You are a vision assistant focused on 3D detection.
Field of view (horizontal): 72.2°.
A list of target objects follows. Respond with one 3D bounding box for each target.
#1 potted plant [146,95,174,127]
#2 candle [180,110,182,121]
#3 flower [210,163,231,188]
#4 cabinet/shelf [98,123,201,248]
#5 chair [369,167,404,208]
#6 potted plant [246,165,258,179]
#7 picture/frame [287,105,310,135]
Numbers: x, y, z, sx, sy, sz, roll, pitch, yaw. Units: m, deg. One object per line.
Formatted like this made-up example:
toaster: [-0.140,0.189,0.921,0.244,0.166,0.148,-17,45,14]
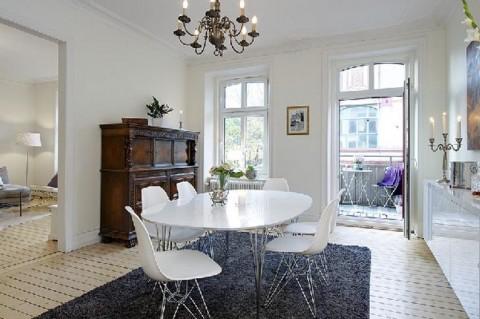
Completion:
potted plant: [-1.538,-0.934,6.460,0.594,0.608,0.557,0,2,9]
candle: [-1.271,-0.946,7.100,0.062,0.230,0.310,-2,4,-10]
flower: [-0.215,0.193,4.489,0.316,0.360,0.344,-5,5,-40]
cabinet/shelf: [-1.634,0.412,6.319,0.778,2.026,2.048,2,2,23]
chair: [3.164,0.596,7.139,0.629,0.847,0.567,0,7,16]
potted plant: [0.237,0.280,7.121,0.235,0.267,0.336,-1,4,1]
picture/frame: [1.169,-0.788,6.528,0.567,0.699,0.052,2,2,24]
